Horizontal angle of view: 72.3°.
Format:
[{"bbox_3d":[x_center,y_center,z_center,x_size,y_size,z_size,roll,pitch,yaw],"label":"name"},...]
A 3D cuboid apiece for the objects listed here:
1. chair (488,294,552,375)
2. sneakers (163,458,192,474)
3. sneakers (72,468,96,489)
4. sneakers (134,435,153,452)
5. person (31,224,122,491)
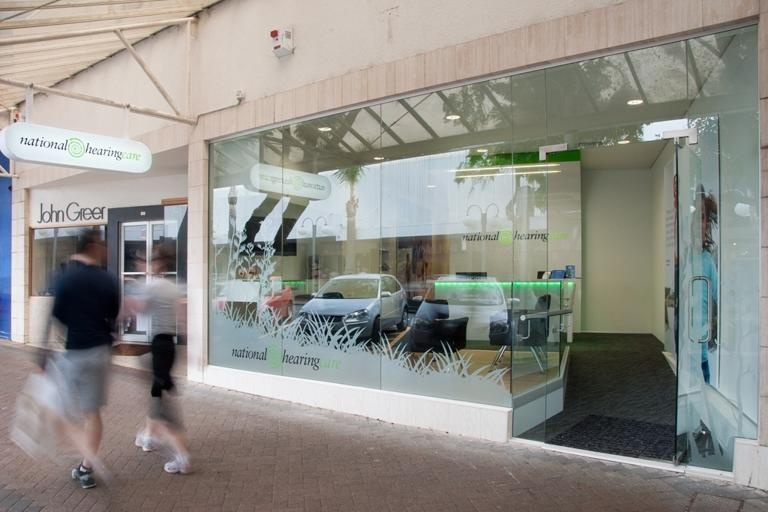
[{"bbox_3d":[1.953,1.051,7.546,0.895,1.098,0.895,-2,4,5],"label":"chair"},{"bbox_3d":[-2.509,2.545,6.419,0.287,0.188,0.168,8,-9,-1],"label":"sneakers"},{"bbox_3d":[-3.539,2.596,6.237,0.385,0.184,0.168,9,0,34],"label":"sneakers"},{"bbox_3d":[-3.188,2.460,6.975,0.175,0.107,0.261,20,4,-41],"label":"sneakers"},{"bbox_3d":[-3.731,1.227,6.472,0.840,2.841,1.236,-4,7,-31],"label":"person"}]
